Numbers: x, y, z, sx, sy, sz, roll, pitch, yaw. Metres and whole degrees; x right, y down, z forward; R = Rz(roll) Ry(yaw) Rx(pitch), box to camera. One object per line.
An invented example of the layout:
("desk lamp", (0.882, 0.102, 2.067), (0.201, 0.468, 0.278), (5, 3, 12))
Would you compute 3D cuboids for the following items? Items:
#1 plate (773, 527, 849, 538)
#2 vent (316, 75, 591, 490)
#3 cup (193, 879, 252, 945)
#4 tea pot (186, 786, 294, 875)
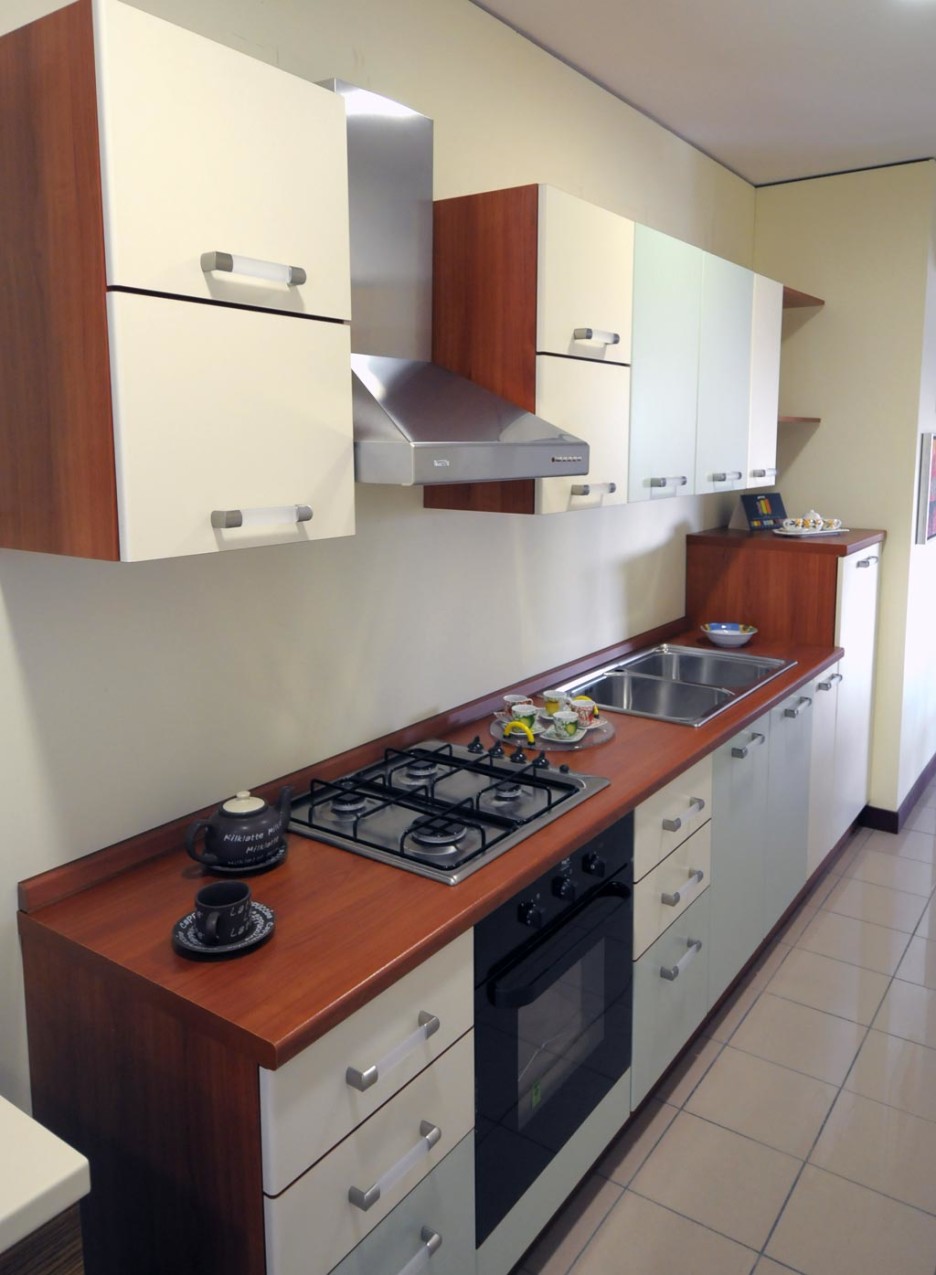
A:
("plate", (1.321, -0.401, 3.670), (0.274, 0.034, 0.217), (2, 10, 8))
("vent", (-0.018, -0.615, 1.723), (0.402, 0.702, 0.748), (1, 10, 5))
("cup", (-0.333, 0.369, 1.312), (0.055, 0.061, 0.080), (2, 14, 6))
("tea pot", (-0.367, 0.313, 1.574), (0.131, 0.126, 0.181), (6, 17, 42))
